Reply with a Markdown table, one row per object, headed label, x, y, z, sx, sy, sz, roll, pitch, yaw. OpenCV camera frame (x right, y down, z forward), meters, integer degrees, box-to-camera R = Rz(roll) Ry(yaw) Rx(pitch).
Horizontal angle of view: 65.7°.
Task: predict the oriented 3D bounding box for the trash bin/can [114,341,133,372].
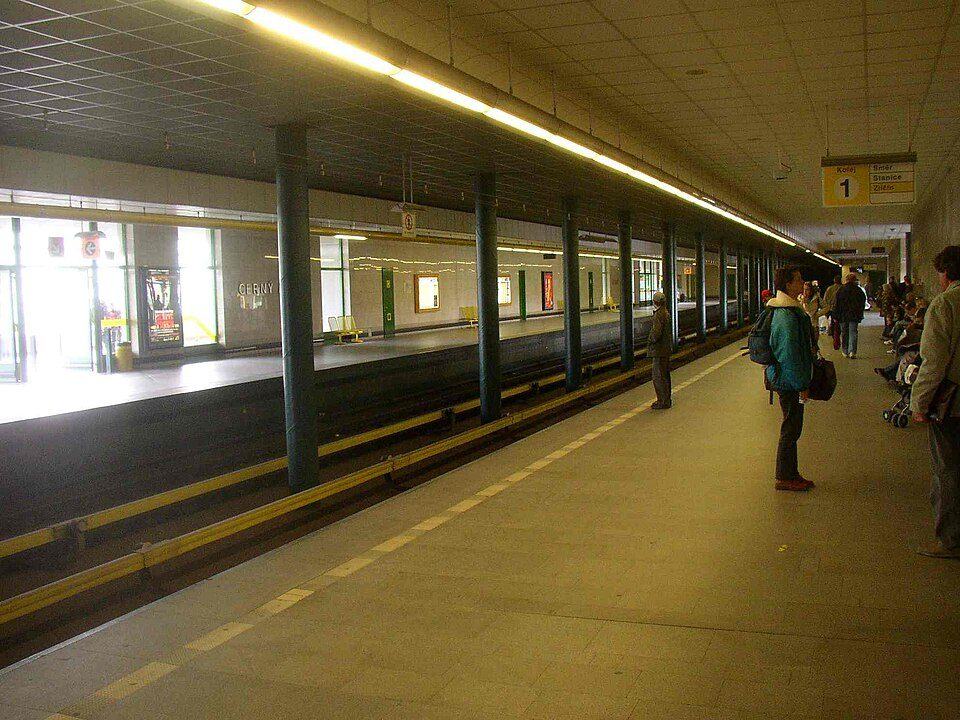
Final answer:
| label | x | y | z | sx | sy | sz | roll | pitch | yaw |
| --- | --- | --- | --- | --- | --- | --- | --- | --- | --- |
| trash bin/can | -7.582 | -0.061 | 15.790 | 0.323 | 0.571 | 0.461 | -5 | 9 | -20 |

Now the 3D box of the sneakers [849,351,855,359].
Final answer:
| label | x | y | z | sx | sy | sz | roll | pitch | yaw |
| --- | --- | --- | --- | --- | --- | --- | --- | --- | --- |
| sneakers | 8.220 | -0.110 | 16.379 | 0.093 | 0.112 | 0.261 | -5 | -10 | 27 |

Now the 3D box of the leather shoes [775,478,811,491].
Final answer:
| label | x | y | z | sx | sy | sz | roll | pitch | yaw |
| --- | --- | --- | --- | --- | --- | --- | --- | --- | --- |
| leather shoes | 2.983 | 1.166 | 7.059 | 0.279 | 0.131 | 0.126 | -2 | 3 | 14 |

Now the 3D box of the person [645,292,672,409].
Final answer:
| label | x | y | z | sx | sy | sz | roll | pitch | yaw |
| --- | --- | --- | --- | --- | --- | --- | --- | --- | --- |
| person | 2.846 | -0.163 | 11.700 | 0.339 | 1.814 | 1.174 | 0 | 8 | 14 |
